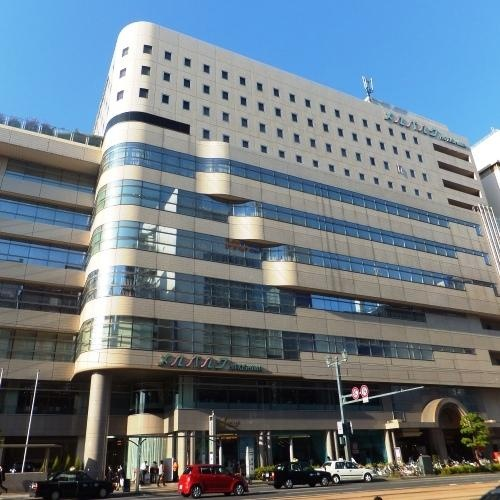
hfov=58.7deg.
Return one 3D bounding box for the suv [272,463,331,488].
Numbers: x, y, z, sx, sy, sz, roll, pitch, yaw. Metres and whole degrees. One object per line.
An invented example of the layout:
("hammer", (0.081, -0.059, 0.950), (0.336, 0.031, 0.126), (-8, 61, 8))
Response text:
("suv", (3.345, 14.600, 28.871), (3.918, 1.436, 0.986), (11, -33, -26))
